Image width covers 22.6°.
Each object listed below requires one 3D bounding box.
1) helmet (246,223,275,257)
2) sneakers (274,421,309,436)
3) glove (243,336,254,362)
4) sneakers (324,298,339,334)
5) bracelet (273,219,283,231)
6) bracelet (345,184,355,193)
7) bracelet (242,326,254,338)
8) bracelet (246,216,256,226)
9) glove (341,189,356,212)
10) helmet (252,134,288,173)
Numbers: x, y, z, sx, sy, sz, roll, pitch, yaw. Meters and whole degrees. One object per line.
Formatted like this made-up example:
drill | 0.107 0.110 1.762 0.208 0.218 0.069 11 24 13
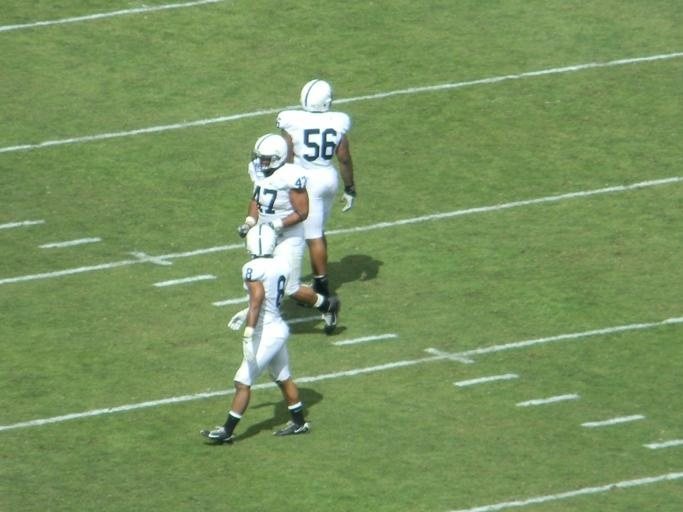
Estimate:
helmet | -0.741 -0.171 18.126 0.340 0.338 0.309 2 88 2
sneakers | -0.432 1.836 18.360 0.429 0.131 0.129 -2 107 -6
glove | -0.866 0.952 17.879 0.099 0.177 0.201 4 101 17
sneakers | -0.035 0.686 19.821 0.233 0.155 0.378 -7 106 -28
bracelet | -0.619 -0.358 19.232 0.116 0.112 0.083 11 110 -11
bracelet | 0.194 -0.805 20.472 0.095 0.101 0.063 0 84 -37
bracelet | -0.876 0.784 17.873 0.117 0.099 0.092 8 74 -13
bracelet | -0.923 -0.396 19.100 0.110 0.115 0.076 2 84 2
glove | 0.133 -0.706 20.643 0.133 0.325 0.192 -1 106 -5
helmet | -0.718 -1.131 19.058 0.456 0.322 0.353 -18 117 -28
